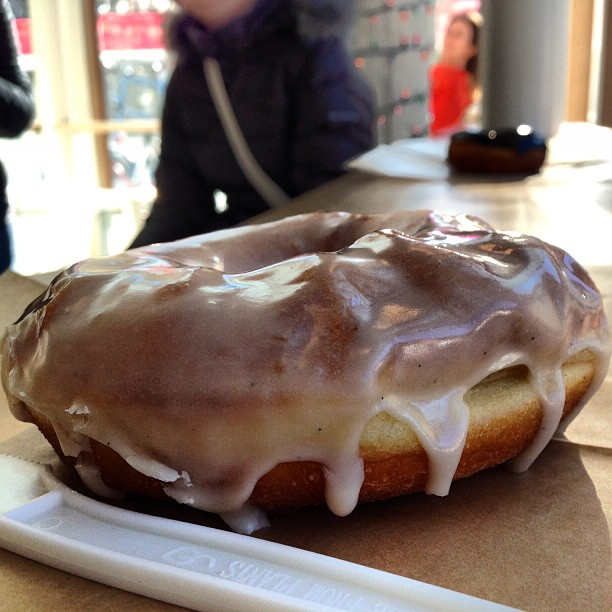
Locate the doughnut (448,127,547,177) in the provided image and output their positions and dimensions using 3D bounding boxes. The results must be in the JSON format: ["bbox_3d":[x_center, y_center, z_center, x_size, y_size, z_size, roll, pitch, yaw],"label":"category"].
[{"bbox_3d":[0.294,-0.232,1.118,0.164,0.051,0.130,14,14,36],"label":"doughnut"}]

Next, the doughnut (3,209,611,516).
[{"bbox_3d":[0.012,0.030,0.437,0.300,0.080,0.236,0,11,12],"label":"doughnut"}]

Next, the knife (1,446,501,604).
[{"bbox_3d":[-0.045,0.100,0.359,0.268,0.011,0.081,5,11,28],"label":"knife"}]
